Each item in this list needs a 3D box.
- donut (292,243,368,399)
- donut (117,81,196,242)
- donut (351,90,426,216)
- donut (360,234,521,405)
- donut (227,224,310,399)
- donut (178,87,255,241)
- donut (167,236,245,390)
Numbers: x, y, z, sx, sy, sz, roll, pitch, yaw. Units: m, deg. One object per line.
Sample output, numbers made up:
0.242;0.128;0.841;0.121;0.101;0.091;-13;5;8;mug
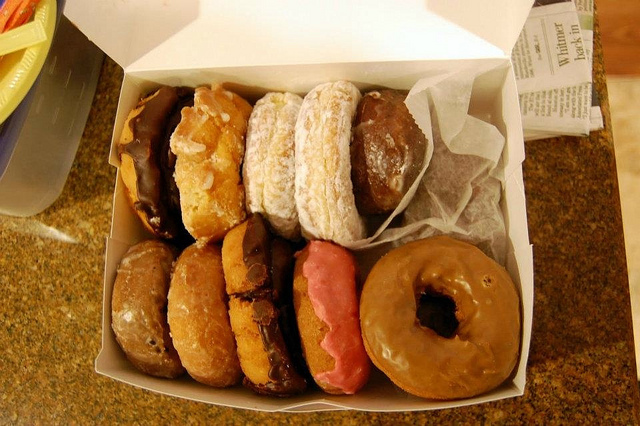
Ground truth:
0.030;0.255;1.439;0.099;0.256;0.312;-9;86;-4;donut
-0.418;-0.133;1.505;0.120;0.328;0.345;-5;90;7;donut
0.164;-0.146;1.457;0.189;0.081;0.285;2;93;-6;donut
0.297;0.251;1.318;0.365;0.131;0.396;9;70;-5;donut
-0.136;0.234;1.406;0.109;0.327;0.355;-9;65;7;donut
-0.254;-0.137;1.442;0.097;0.319;0.293;4;23;19;donut
-0.274;0.239;1.436;0.094;0.306;0.298;-10;47;-4;donut
